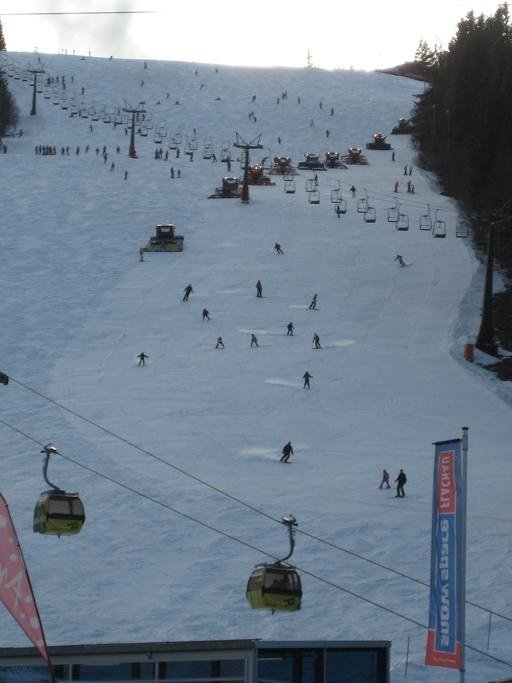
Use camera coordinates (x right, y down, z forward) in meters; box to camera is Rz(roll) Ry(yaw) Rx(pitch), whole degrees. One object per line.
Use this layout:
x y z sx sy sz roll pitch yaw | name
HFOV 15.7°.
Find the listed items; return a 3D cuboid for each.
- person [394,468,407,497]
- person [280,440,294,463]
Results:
4.896 4.786 62.832 0.346 0.912 1.255 3 8 5 | person
1.084 3.884 65.465 0.462 0.730 1.425 3 8 1 | person
